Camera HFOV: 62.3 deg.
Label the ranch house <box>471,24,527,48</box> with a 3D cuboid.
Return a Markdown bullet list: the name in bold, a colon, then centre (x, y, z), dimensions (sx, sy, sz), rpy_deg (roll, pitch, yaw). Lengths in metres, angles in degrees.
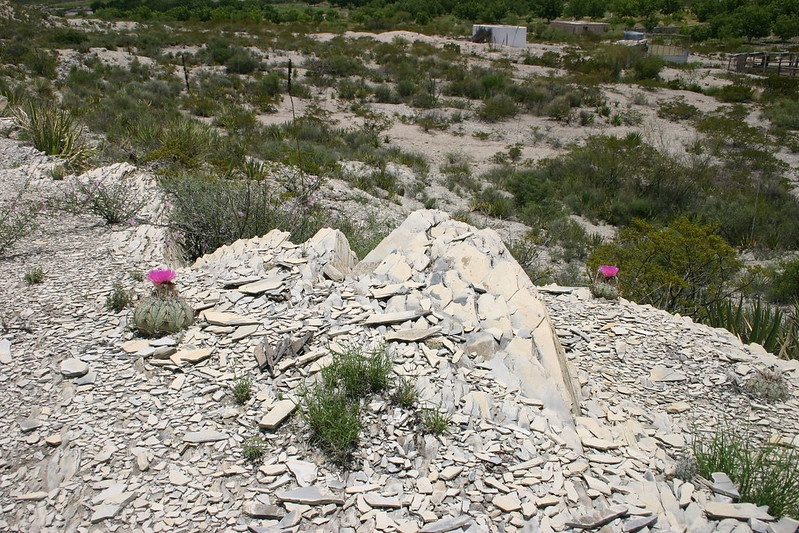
- **ranch house**: centre (7.253, -16.733, 47.676), dimensions (3.804, 1.211, 1.837), rpy_deg (7, 25, 12)

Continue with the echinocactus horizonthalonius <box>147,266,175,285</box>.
- **echinocactus horizonthalonius**: centre (-3.280, 0.132, 9.027), dimensions (0.289, 0.187, 0.323), rpy_deg (1, 9, 15)

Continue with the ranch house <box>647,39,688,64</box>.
- **ranch house**: centre (18.784, -15.088, 46.164), dimensions (2.607, 1.087, 1.745), rpy_deg (17, 29, 30)

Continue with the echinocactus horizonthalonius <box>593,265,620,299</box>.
- **echinocactus horizonthalonius**: centre (3.562, 0.284, 11.277), dimensions (0.413, 0.617, 0.454), rpy_deg (-1, -5, 15)
